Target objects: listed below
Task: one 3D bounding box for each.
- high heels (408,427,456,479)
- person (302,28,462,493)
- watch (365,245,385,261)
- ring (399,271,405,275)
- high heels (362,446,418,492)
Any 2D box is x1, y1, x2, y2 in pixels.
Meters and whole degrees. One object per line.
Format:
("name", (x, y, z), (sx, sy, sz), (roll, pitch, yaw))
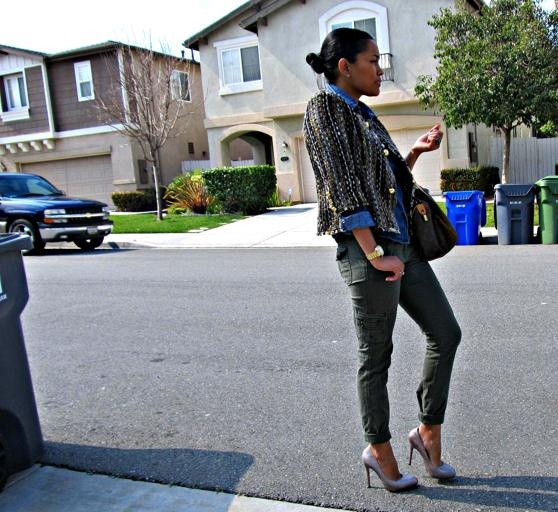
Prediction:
("high heels", (0.715, 0.960, 2.215), (0.267, 0.228, 0.141), (5, -1, 9))
("person", (0.450, 0.051, 2.004), (0.633, 2.107, 0.413), (-5, 5, -30))
("watch", (0.385, -0.004, 1.803), (0.064, 0.044, 0.070), (-21, 16, 50))
("ring", (0.504, 0.068, 1.846), (0.011, 0.015, 0.014), (26, 0, -30))
("high heels", (0.498, 0.987, 2.125), (0.284, 0.222, 0.134), (-1, -1, 12))
